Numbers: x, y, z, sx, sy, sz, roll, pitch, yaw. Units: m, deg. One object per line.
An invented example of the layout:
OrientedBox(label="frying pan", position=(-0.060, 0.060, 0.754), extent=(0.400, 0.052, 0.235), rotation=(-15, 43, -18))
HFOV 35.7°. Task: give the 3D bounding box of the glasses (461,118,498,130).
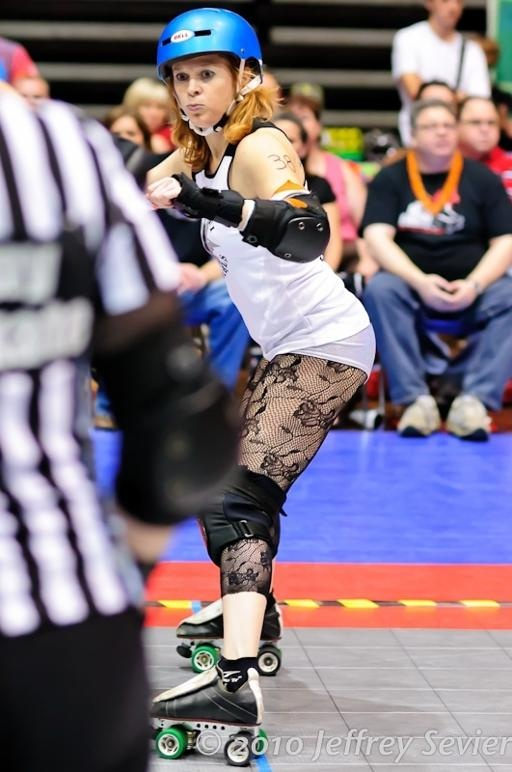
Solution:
OrientedBox(label="glasses", position=(1.402, -1.639, 4.965), extent=(0.216, 0.053, 0.049), rotation=(-2, 30, 6))

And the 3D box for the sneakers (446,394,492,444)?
OrientedBox(label="sneakers", position=(1.251, 0.177, 4.634), extent=(0.182, 0.131, 0.312), rotation=(0, 34, -9))

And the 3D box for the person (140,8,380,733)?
OrientedBox(label="person", position=(-0.099, 0.003, 1.823), extent=(0.562, 1.561, 0.582), rotation=(12, 27, 19))

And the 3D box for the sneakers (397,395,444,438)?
OrientedBox(label="sneakers", position=(0.971, 0.183, 4.673), extent=(0.253, 0.271, 0.667), rotation=(-5, -1, 13))
